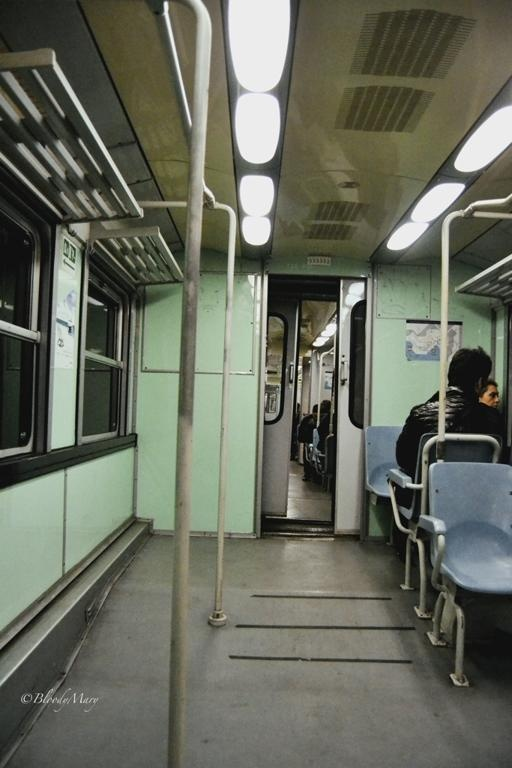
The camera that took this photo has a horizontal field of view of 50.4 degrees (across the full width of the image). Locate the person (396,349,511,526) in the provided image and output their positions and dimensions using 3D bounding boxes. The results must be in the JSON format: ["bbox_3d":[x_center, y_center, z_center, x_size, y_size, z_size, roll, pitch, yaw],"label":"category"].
[{"bbox_3d":[1.800,0.425,4.938,0.785,1.498,0.876,17,-2,-41],"label":"person"}]
